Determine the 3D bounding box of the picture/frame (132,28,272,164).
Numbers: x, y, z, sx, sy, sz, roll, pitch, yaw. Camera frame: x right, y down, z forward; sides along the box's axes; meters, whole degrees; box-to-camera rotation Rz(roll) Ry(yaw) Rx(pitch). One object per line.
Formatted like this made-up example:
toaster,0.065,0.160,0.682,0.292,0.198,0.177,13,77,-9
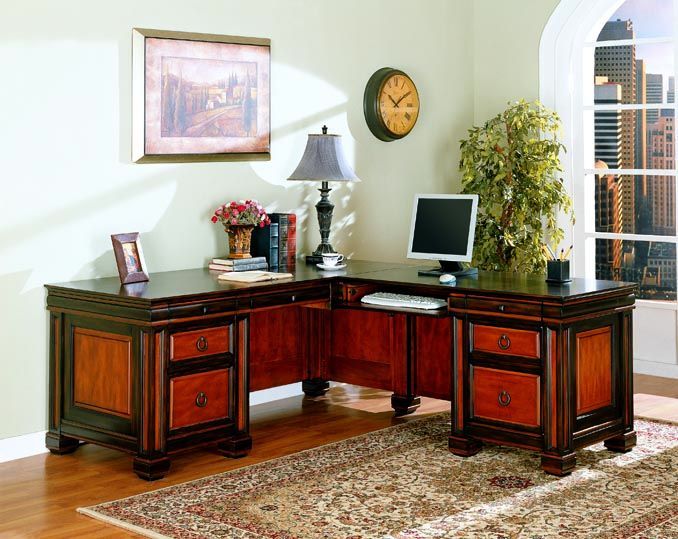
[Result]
picture/frame,-0.910,-1.107,3.755,0.976,0.744,0.044,-10,15,-40

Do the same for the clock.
clock,0.427,-1.337,4.851,0.536,0.580,0.143,-3,3,-44

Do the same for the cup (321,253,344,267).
cup,-0.049,-0.064,3.910,0.128,0.064,0.093,1,4,22

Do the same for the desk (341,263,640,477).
desk,1.041,0.466,3.269,1.654,0.825,0.824,1,2,43

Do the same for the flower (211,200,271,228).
flower,-0.621,-0.355,3.811,0.237,0.135,0.243,5,6,41

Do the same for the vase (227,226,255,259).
vase,-0.628,-0.177,3.783,0.197,0.199,0.208,1,4,23
